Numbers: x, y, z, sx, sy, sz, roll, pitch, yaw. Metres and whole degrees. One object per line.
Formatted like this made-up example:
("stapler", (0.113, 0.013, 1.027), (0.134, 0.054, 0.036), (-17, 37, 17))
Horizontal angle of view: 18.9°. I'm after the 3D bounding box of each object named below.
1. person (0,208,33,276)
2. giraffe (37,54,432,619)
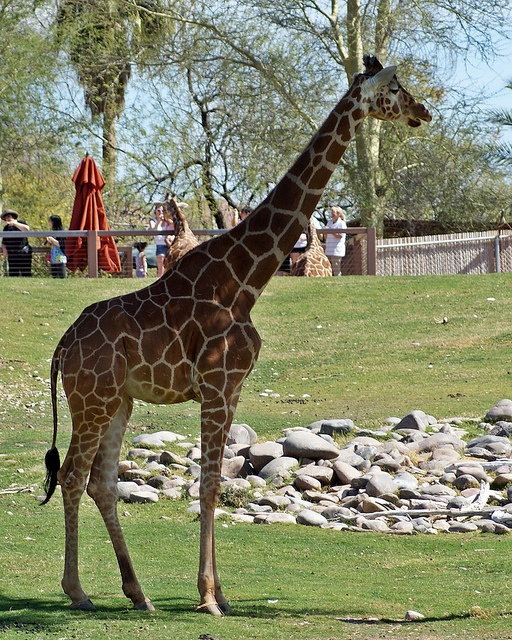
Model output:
("person", (-5.065, -1.616, 32.799), (0.614, 1.544, 2.018), (-2, 11, -9))
("giraffe", (-0.491, 0.174, 16.232), (3.491, 5.200, 1.766), (-2, 11, -9))
